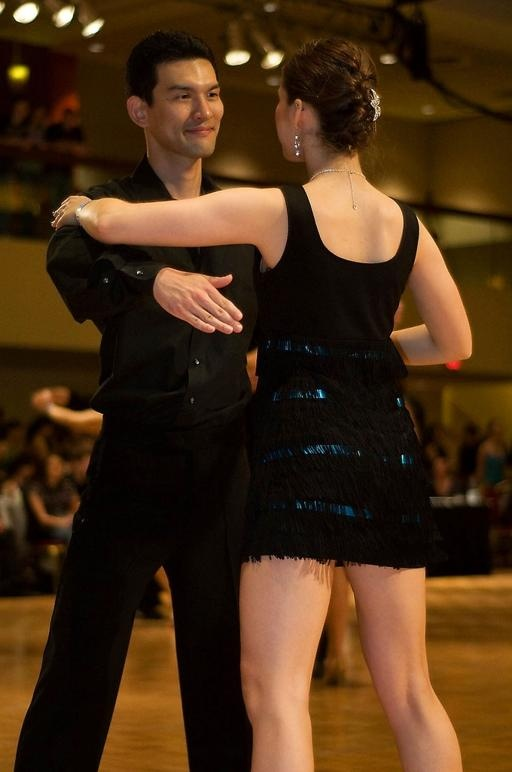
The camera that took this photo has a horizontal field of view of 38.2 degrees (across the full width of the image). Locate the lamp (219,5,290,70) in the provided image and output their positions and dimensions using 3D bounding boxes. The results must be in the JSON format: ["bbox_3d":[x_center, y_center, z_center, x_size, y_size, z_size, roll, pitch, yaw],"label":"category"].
[{"bbox_3d":[-0.073,-5.507,11.672,0.825,0.906,1.401,-18,31,-5],"label":"lamp"}]
